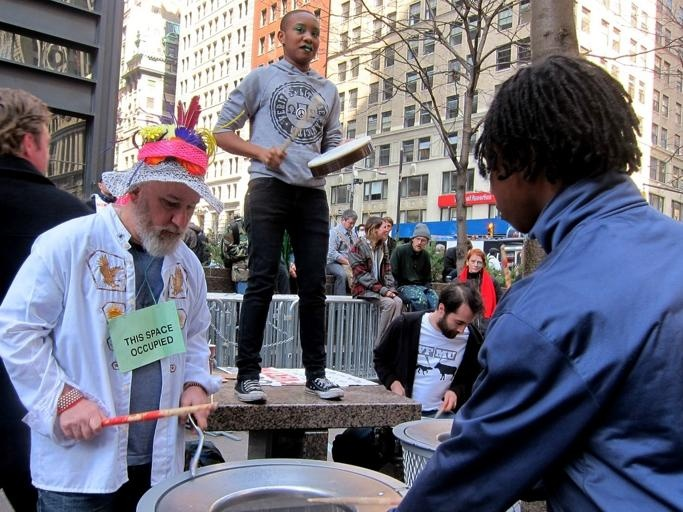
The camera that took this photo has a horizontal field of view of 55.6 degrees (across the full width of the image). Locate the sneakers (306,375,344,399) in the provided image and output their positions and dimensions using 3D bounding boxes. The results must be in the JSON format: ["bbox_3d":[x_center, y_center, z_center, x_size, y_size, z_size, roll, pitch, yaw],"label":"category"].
[{"bbox_3d":[-0.118,0.895,4.376,0.104,0.112,0.285,2,-5,-33],"label":"sneakers"}]

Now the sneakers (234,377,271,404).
[{"bbox_3d":[-0.605,0.849,4.121,0.293,0.156,0.149,1,-1,36],"label":"sneakers"}]

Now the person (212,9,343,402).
[{"bbox_3d":[-0.378,-0.343,4.181,0.878,2.549,0.469,2,0,-15],"label":"person"}]

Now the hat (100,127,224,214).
[{"bbox_3d":[-0.844,-0.421,3.061,0.452,0.268,0.456,4,-8,23],"label":"hat"}]

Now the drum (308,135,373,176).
[{"bbox_3d":[0.017,-0.674,4.232,0.514,0.280,0.269,2,-1,-43],"label":"drum"}]

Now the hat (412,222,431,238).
[{"bbox_3d":[1.206,-0.381,9.861,0.206,0.192,0.281,6,-8,1],"label":"hat"}]
